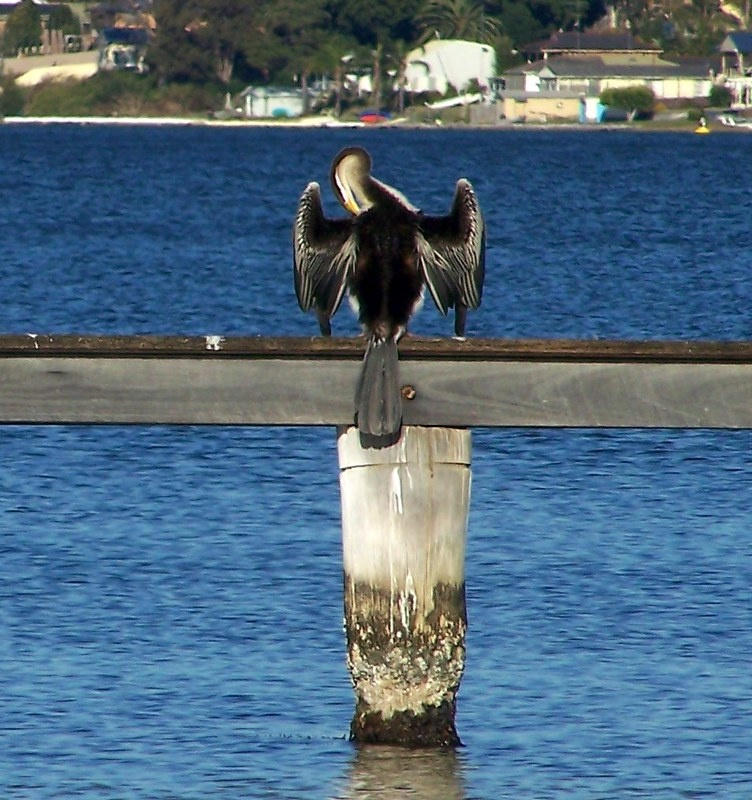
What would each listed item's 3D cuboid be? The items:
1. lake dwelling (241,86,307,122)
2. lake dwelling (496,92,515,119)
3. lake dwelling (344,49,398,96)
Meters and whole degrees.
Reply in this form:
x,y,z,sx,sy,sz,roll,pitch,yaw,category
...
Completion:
x,y,z,sx,sy,sz,roll,pitch,yaw,category
-6.640,-17.513,185.893,2.847,1.167,2.235,-2,10,-13,lake dwelling
7.242,-17.290,186.497,1.130,2.420,1.227,0,8,-2,lake dwelling
-1.314,-18.848,183.585,2.691,0.892,3.040,0,58,-7,lake dwelling
